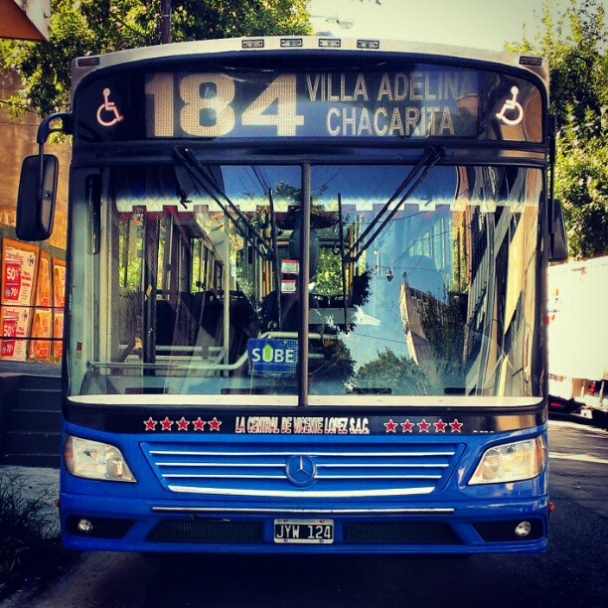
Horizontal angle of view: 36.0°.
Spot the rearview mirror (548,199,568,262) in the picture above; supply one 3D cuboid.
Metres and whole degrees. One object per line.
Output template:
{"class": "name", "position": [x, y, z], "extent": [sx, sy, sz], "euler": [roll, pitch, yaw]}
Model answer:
{"class": "rearview mirror", "position": [1.726, -0.514, 6.389], "extent": [0.127, 0.423, 0.328], "euler": [1, 0, 18]}
